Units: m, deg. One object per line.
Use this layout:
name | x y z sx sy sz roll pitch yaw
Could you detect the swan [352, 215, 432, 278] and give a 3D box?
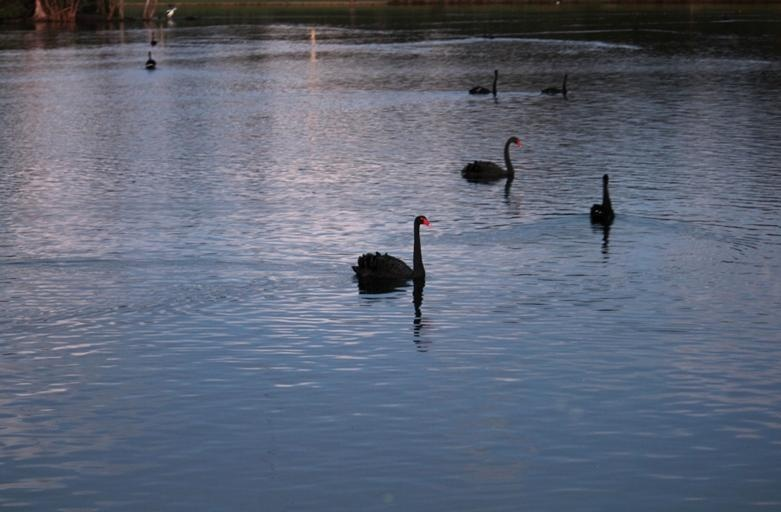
swan | -0.038 -0.204 32.001 2.177 1.907 0.837 1 10 0
